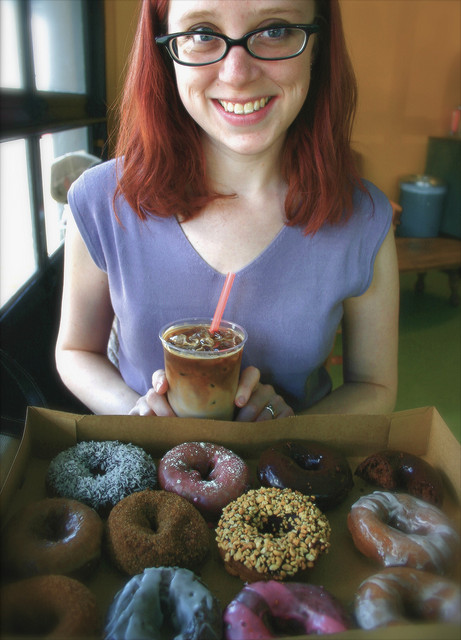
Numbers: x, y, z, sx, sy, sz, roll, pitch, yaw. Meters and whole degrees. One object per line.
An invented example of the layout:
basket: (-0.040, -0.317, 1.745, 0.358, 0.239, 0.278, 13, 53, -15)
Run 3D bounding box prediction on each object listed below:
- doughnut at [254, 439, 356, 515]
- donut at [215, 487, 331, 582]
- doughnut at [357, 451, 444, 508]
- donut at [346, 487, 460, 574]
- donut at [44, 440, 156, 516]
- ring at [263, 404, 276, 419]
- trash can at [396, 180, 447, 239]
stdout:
doughnut: (0.113, 0.235, 0.884, 0.156, 0.054, 0.153, -13, 26, -41)
donut: (0.059, 0.285, 0.763, 0.156, 0.044, 0.154, 1, 20, -7)
doughnut: (0.249, 0.226, 0.836, 0.115, 0.060, 0.115, -5, 12, -31)
donut: (0.227, 0.275, 0.760, 0.139, 0.052, 0.133, 8, 20, 12)
donut: (-0.209, 0.236, 0.877, 0.171, 0.167, 0.061, 23, 46, -36)
ring: (0.072, 0.173, 1.070, 0.005, 0.021, 0.021, -18, 45, 1)
trash can: (1.488, -0.862, 4.522, 0.404, 0.394, 0.378, -5, 18, -23)
